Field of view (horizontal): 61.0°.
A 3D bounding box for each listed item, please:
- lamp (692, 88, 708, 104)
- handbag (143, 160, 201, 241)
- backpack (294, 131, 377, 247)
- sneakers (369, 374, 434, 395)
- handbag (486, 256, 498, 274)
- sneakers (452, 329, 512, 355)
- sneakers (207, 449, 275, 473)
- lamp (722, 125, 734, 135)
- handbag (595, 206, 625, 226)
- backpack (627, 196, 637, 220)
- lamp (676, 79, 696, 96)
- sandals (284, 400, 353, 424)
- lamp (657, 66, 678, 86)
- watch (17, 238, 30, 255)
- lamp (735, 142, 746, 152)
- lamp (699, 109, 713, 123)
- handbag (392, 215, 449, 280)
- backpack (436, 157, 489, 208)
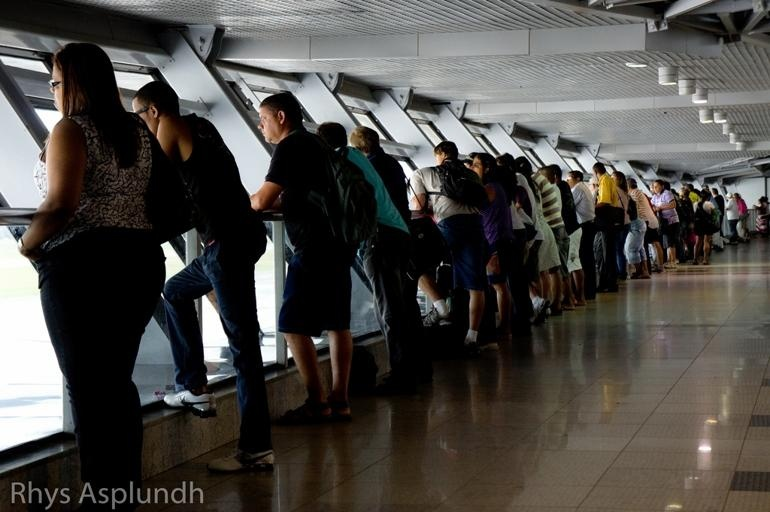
[{"bbox_3d":[6.283,-3.265,13.209,0.324,0.290,0.315,4,-4,-34],"label":"lamp"},{"bbox_3d":[-0.960,-0.257,2.981,0.079,0.299,0.337,-5,10,38],"label":"handbag"},{"bbox_3d":[-0.331,-0.438,4.393,0.462,0.797,0.548,-13,21,13],"label":"backpack"},{"bbox_3d":[0.115,1.036,5.332,0.529,0.202,0.179,-7,1,12],"label":"sneakers"},{"bbox_3d":[1.205,0.089,7.314,0.146,0.198,0.060,2,-7,14],"label":"handbag"},{"bbox_3d":[1.017,0.902,6.841,0.679,0.281,0.220,5,-9,-36],"label":"sneakers"},{"bbox_3d":[-0.777,1.157,3.770,0.385,0.155,0.134,2,-4,1],"label":"sneakers"},{"bbox_3d":[9.921,-3.668,19.173,0.203,0.344,0.370,0,2,13],"label":"lamp"},{"bbox_3d":[4.014,-0.730,11.783,0.595,0.400,0.331,0,-10,0],"label":"handbag"},{"bbox_3d":[4.869,-0.955,13.034,0.108,0.434,0.319,2,7,9],"label":"backpack"},{"bbox_3d":[5.736,-3.248,12.603,0.321,0.294,0.315,0,0,3],"label":"lamp"},{"bbox_3d":[-0.436,1.059,4.581,0.459,0.172,0.174,2,-2,-4],"label":"sandals"},{"bbox_3d":[4.744,-3.099,11.245,0.360,0.315,0.366,1,2,39],"label":"lamp"},{"bbox_3d":[-1.478,-0.046,2.732,0.030,0.064,0.048,-26,19,-26],"label":"watch"},{"bbox_3d":[12.563,-3.962,23.411,0.326,0.222,0.320,1,7,0],"label":"lamp"},{"bbox_3d":[7.870,-3.482,16.146,0.341,0.299,0.339,-1,3,14],"label":"lamp"},{"bbox_3d":[0.352,-0.098,5.961,0.425,0.522,0.175,-14,7,-28],"label":"handbag"},{"bbox_3d":[0.773,-0.697,6.348,0.502,0.393,0.207,18,-49,-44],"label":"backpack"}]
